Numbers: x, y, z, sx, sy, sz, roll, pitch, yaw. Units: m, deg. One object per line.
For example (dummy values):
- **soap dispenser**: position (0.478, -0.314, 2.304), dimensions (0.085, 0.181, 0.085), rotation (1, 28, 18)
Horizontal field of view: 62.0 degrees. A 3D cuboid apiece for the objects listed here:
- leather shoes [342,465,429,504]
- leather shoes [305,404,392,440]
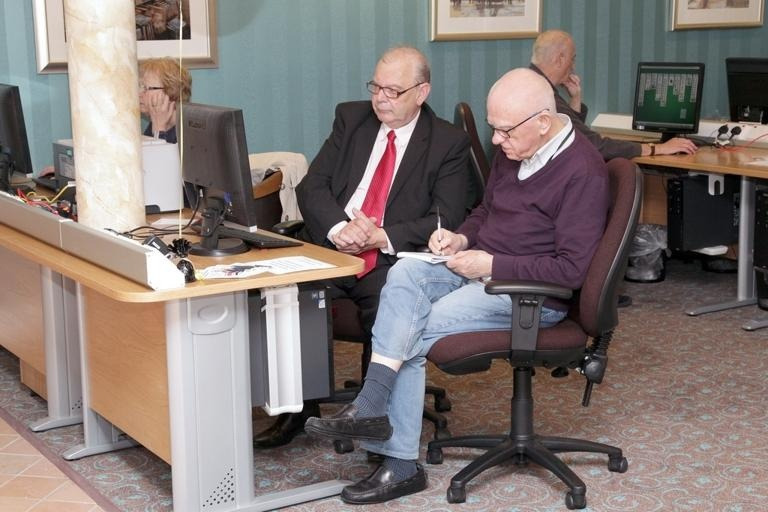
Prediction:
- **leather shoes**: position (0.003, 0.939, 2.653), dimensions (0.395, 0.108, 0.129), rotation (-5, 6, -20)
- **leather shoes**: position (-0.122, 0.643, 2.477), dimensions (0.390, 0.114, 0.117), rotation (4, -5, -14)
